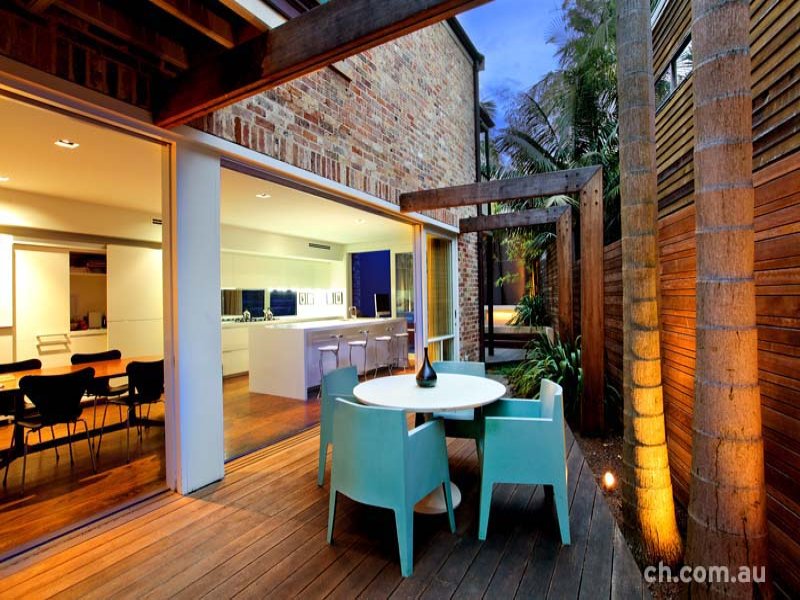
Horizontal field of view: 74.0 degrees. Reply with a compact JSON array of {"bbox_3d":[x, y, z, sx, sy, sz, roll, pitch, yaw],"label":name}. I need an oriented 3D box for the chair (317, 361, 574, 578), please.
[{"bbox_3d":[0.375,1.156,4.034,1.869,1.065,1.109,-3,11,-10],"label":"chair"}]
